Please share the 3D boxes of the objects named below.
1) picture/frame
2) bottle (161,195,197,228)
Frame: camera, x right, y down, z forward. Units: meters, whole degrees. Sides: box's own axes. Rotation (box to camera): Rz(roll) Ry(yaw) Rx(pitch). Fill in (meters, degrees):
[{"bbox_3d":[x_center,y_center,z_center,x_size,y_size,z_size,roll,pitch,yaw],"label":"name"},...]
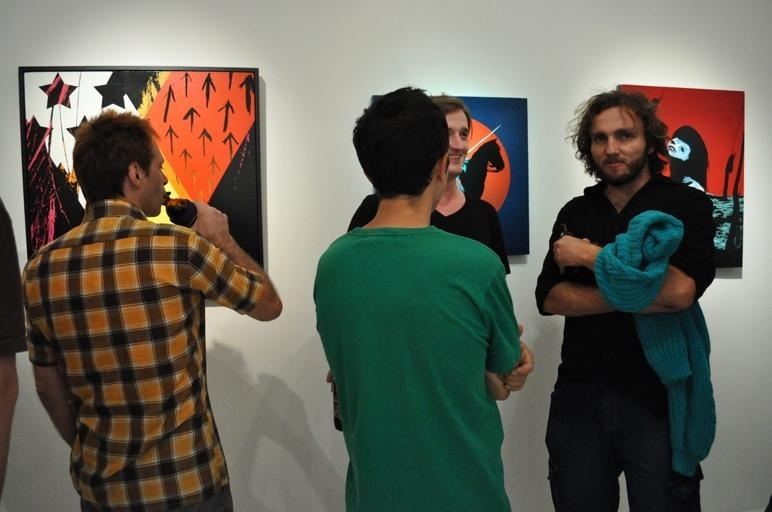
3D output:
[{"bbox_3d":[-1.294,-0.393,3.016,1.190,1.163,0.050,-4,6,-8],"label":"picture/frame"},{"bbox_3d":[-0.988,-0.208,2.871,0.086,0.088,0.200,-1,-13,26],"label":"bottle"}]
